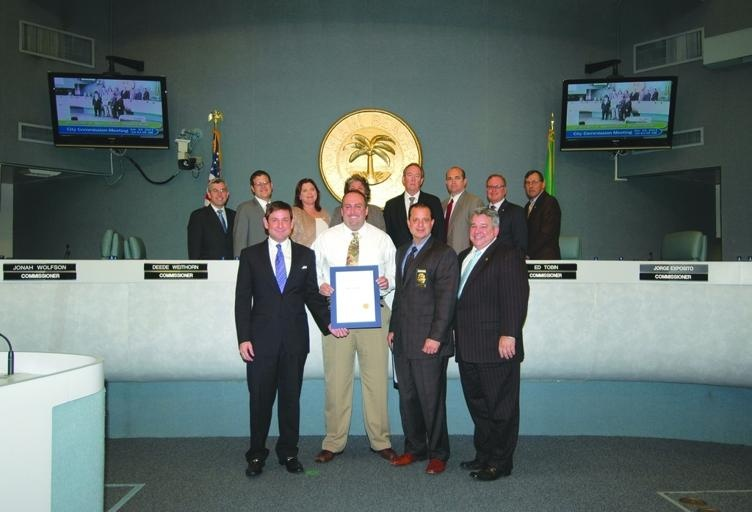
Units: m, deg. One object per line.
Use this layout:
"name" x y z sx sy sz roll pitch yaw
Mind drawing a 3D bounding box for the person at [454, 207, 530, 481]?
"person" 0.986 0.780 5.568 0.613 2.352 0.595 5 12 22

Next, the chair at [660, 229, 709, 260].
"chair" 3.437 -0.092 7.109 0.406 0.536 0.355 11 -11 -42

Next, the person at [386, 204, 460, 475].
"person" 0.409 0.875 5.698 0.623 2.078 0.581 3 11 13

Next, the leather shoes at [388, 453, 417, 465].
"leather shoes" 0.250 1.856 5.751 0.210 0.089 0.108 6 -8 -15

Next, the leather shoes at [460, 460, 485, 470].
"leather shoes" 0.858 1.888 5.652 0.166 0.075 0.090 4 -6 0

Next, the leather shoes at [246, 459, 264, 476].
"leather shoes" -1.078 1.903 5.613 0.083 0.086 0.196 1 -10 0

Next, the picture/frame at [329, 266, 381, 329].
"picture/frame" -0.180 0.375 5.600 0.513 0.634 0.048 -1 -2 2

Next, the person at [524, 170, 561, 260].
"person" 1.896 -0.455 7.181 0.413 0.984 0.607 3 11 15

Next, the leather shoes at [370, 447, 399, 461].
"leather shoes" 0.082 1.837 5.828 0.095 0.111 0.253 -1 0 -45

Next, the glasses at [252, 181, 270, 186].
"glasses" -1.205 -0.769 6.672 0.161 0.056 0.048 -1 11 -4

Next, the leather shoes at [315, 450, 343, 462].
"leather shoes" -0.436 1.857 5.863 0.236 0.101 0.083 7 3 -43

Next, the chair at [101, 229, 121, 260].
"chair" -2.945 -0.105 7.074 0.220 0.349 0.682 -4 12 -22

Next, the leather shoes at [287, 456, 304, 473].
"leather shoes" -0.722 1.881 5.653 0.086 0.082 0.181 0 -1 -34

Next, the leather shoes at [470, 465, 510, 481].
"leather shoes" 1.005 1.910 5.560 0.335 0.139 0.132 4 -4 -11

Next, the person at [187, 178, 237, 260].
"person" -1.834 -0.411 7.031 0.509 0.873 0.507 -2 11 -13

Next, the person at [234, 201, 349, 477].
"person" -0.828 0.738 5.656 0.814 2.409 0.558 -3 11 -14
